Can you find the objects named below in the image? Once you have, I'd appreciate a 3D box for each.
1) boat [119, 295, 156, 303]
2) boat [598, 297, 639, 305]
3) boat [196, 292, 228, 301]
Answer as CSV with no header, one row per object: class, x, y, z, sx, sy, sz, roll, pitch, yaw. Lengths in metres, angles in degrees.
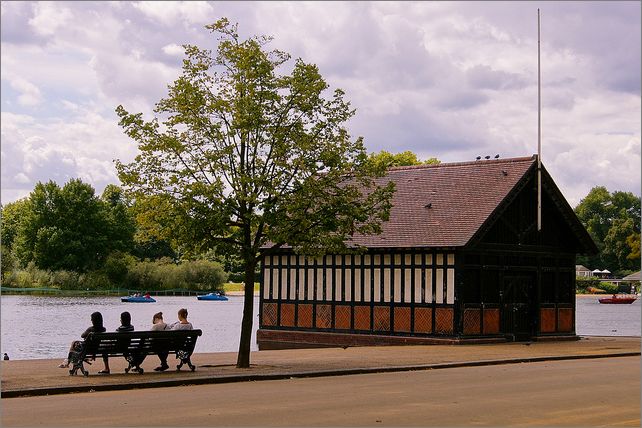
boat,-22.360,10.444,97.234,3.767,0.685,6.844,-3,-2,-12
boat,44.463,13.000,118.949,3.806,1.156,8.970,-5,-3,35
boat,-14.913,11.349,111.380,5.232,1.395,1.596,4,-8,-9
